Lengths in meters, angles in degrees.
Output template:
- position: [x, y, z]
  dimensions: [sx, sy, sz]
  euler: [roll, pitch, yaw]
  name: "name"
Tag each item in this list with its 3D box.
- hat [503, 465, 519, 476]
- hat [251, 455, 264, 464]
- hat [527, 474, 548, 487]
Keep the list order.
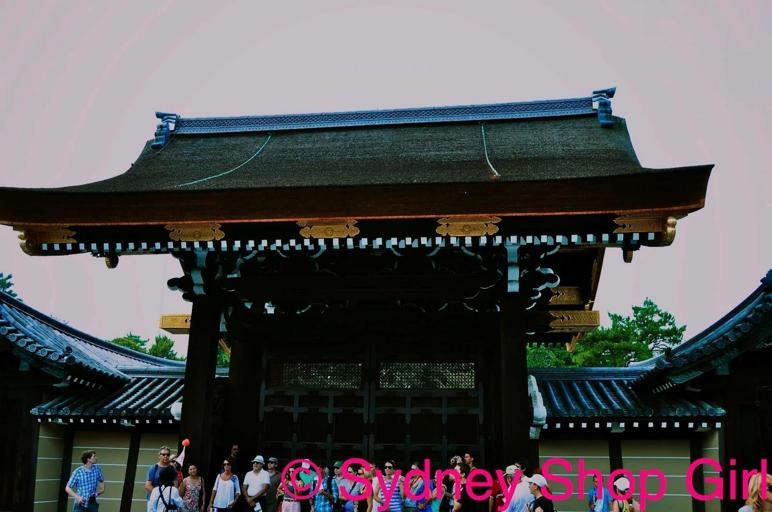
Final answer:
- position: [2.327, 4.001, 23.894]
  dimensions: [0.247, 0.188, 0.181]
  euler: [-14, -27, 38]
  name: "hat"
- position: [-2.481, 3.967, 24.948]
  dimensions: [0.203, 0.087, 0.193]
  euler: [0, -20, 26]
  name: "hat"
- position: [2.740, 4.092, 23.388]
  dimensions: [0.338, 0.157, 0.199]
  euler: [9, -1, 9]
  name: "hat"
